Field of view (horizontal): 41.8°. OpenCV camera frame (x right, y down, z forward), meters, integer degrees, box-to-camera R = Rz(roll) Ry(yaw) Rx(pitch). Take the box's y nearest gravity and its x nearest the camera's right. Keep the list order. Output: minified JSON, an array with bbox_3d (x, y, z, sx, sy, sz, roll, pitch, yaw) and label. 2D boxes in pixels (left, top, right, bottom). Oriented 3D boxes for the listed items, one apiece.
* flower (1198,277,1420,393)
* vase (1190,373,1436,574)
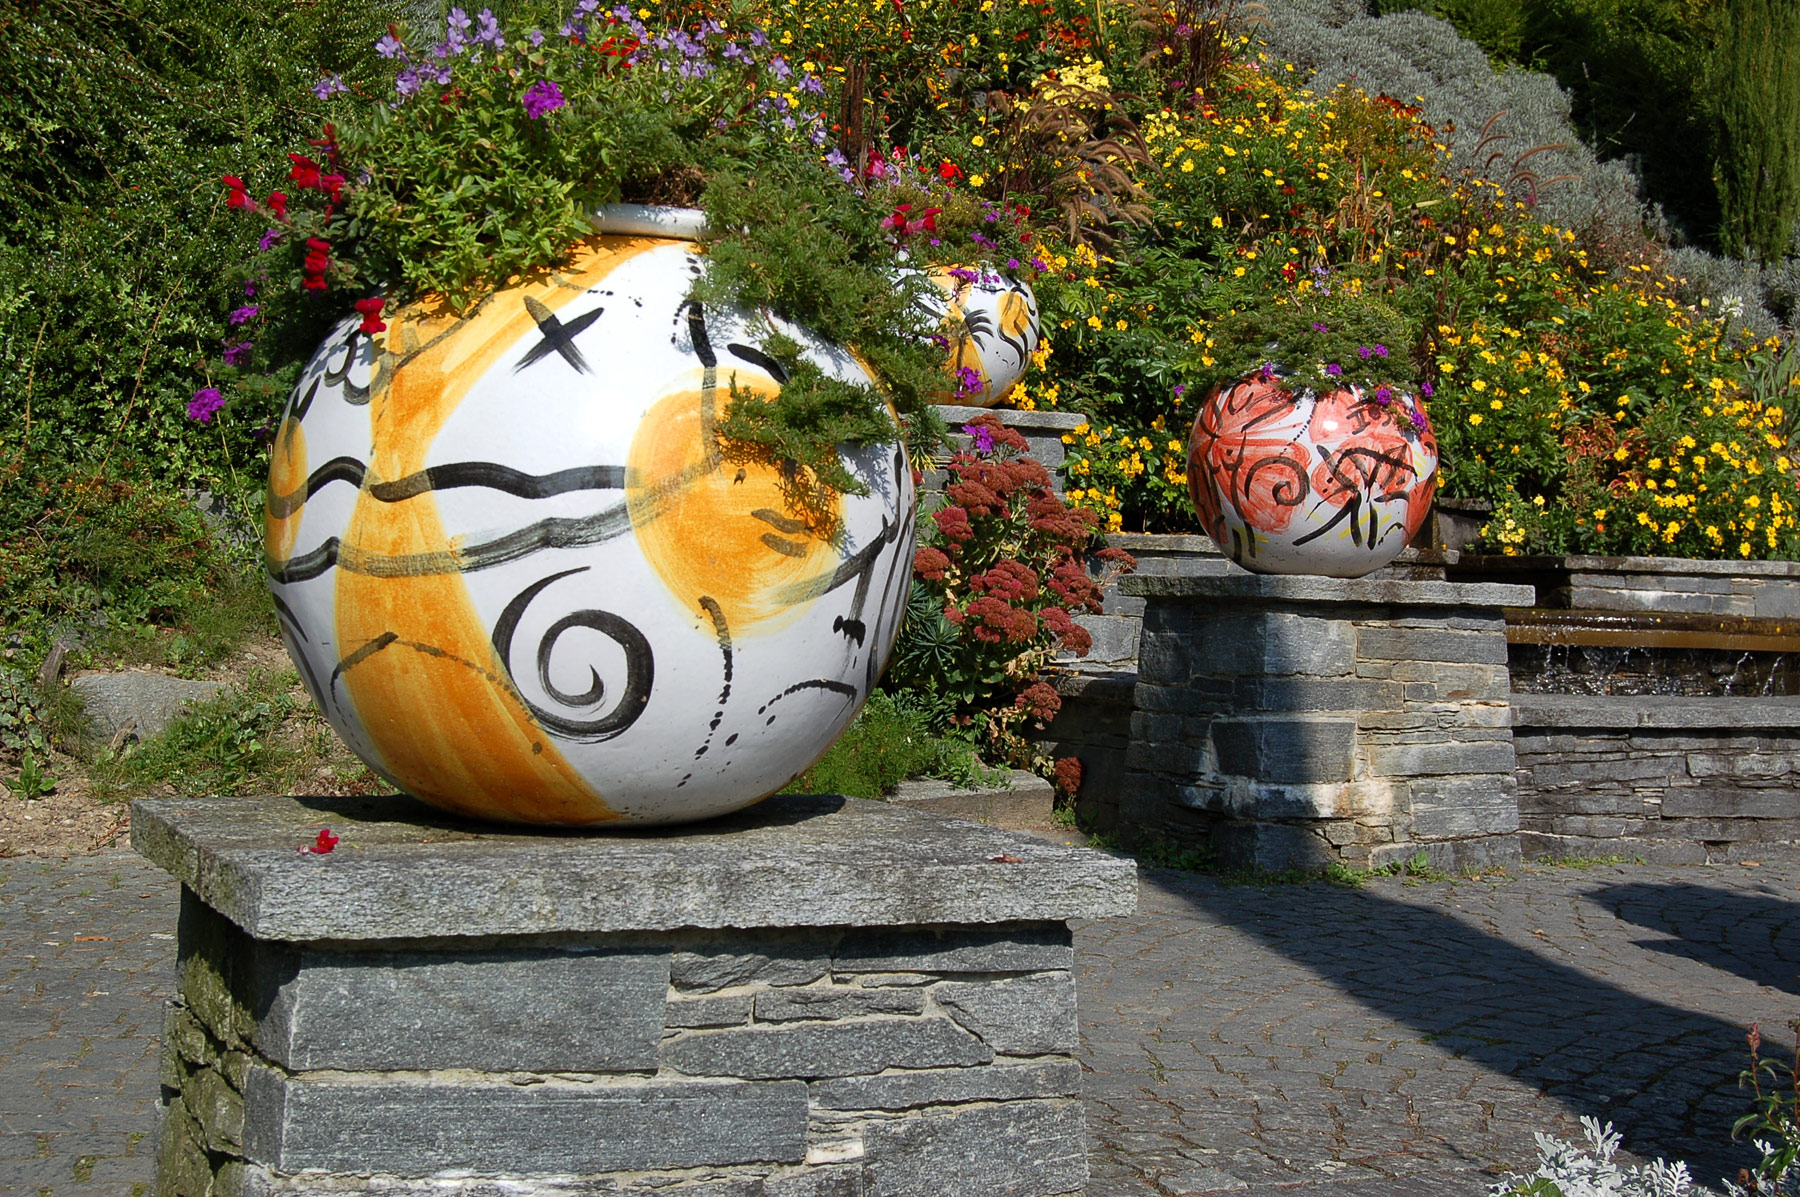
[{"bbox_3d":[2.508,-1.467,13.515,0.923,0.476,0.909,-7,11,-39],"label":"flower"},{"bbox_3d":[2.378,-0.689,13.503,1.191,0.878,1.088,-1,3,-19],"label":"vase"}]
